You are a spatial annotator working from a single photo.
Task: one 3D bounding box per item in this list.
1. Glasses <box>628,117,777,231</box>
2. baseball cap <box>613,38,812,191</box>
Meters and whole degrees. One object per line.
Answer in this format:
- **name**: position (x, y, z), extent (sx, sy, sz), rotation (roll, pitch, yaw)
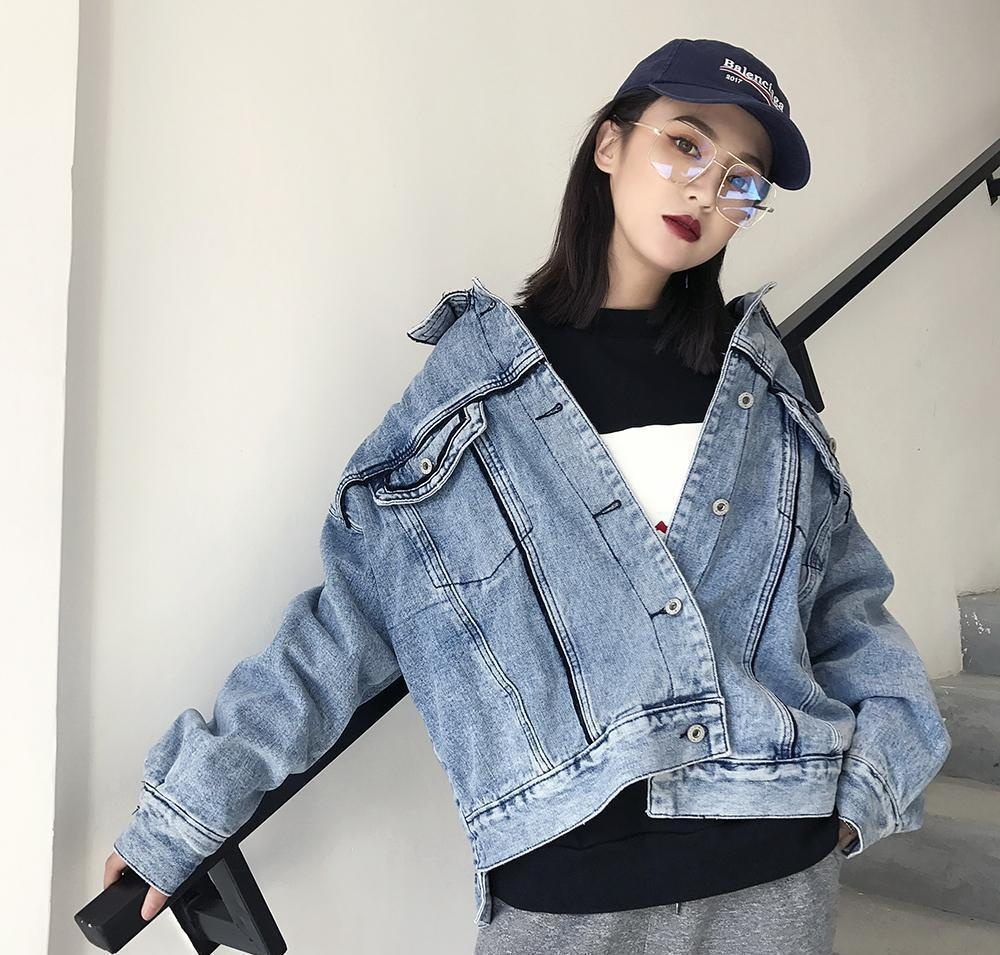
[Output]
- **Glasses**: position (0.298, -0.446, 1.879), extent (0.150, 0.051, 0.163), rotation (30, 3, -30)
- **baseball cap**: position (0.301, -0.559, 1.989), extent (0.209, 0.140, 0.267), rotation (32, -7, -23)
